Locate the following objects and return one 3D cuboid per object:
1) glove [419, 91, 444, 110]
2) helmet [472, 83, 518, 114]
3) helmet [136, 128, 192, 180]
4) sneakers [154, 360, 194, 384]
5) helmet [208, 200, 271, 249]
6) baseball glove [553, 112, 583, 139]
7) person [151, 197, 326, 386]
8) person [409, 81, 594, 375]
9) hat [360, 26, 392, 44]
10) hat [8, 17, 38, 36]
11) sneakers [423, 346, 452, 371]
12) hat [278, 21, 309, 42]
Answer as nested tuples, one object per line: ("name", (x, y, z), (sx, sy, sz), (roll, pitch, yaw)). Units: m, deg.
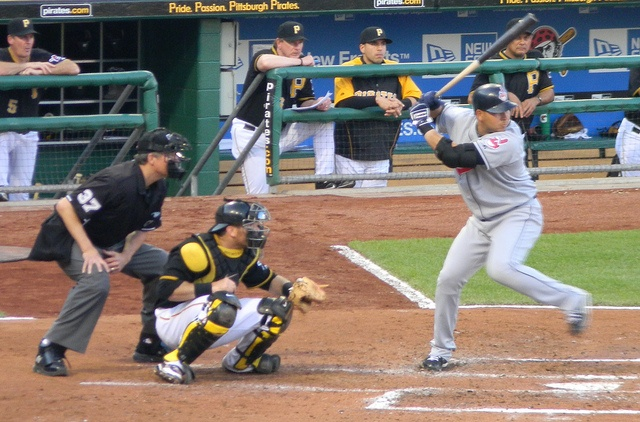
("glove", (1.046, -1.028, 10.325), (0.210, 0.173, 0.077), (41, -6, -37))
("helmet", (1.587, -1.011, 9.917), (0.430, 0.150, 0.268), (1, 18, 20))
("helmet", (-1.385, -0.533, 9.922), (0.699, 0.382, 0.418), (-5, -4, 2))
("sneakers", (-1.289, 1.429, 9.753), (0.396, 0.142, 0.158), (19, 51, 13))
("helmet", (-0.676, 0.112, 9.753), (0.662, 0.331, 0.402), (-1, 4, -8))
("baseball glove", (3.684, -1.278, 16.368), (0.402, 0.197, 0.470), (-6, -6, 1))
("person", (-0.795, 0.722, 9.881), (1.364, 1.616, 0.467), (1, 7, -7))
("person", (1.493, 0.160, 9.972), (1.579, 2.578, 0.824), (7, 8, 41))
("hat", (0.634, -2.132, 13.410), (0.366, 0.143, 0.267), (-5, 0, 44))
("hat", (-3.477, -2.131, 12.775), (0.279, 0.213, 0.214), (-1, 6, -19))
("sneakers", (1.068, 1.361, 10.006), (0.164, 0.115, 0.350), (7, -6, 21))
("hat", (-0.327, -2.176, 13.358), (0.273, 0.146, 0.333), (-6, 14, -29))
